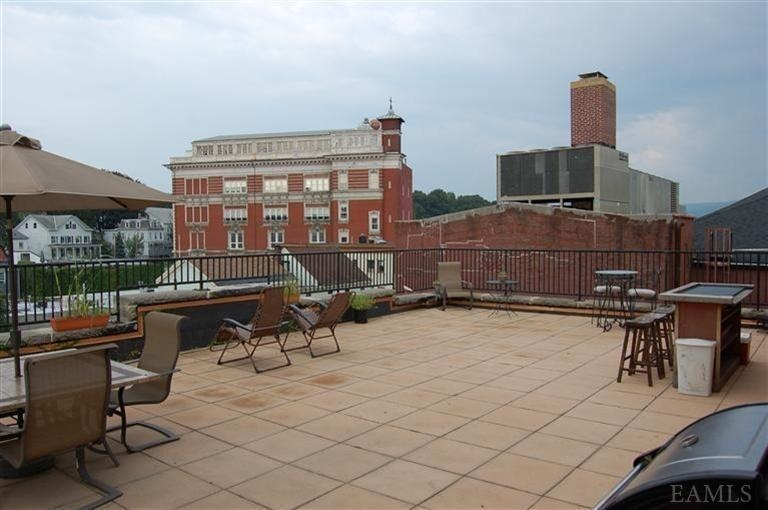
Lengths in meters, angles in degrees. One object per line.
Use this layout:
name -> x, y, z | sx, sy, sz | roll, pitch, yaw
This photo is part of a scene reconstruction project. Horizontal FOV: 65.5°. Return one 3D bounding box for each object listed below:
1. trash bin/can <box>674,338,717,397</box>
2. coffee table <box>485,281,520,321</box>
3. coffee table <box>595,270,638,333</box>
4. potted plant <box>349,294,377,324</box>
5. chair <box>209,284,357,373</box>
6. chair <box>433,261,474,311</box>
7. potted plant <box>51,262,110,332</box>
trash bin/can -> 4.640, 1.649, 8.936 | 0.617, 0.743, 0.542 | -1, -3, 11
coffee table -> 3.109, 1.175, 15.693 | 0.953, 0.909, 0.865 | -2, -7, -19
coffee table -> 5.399, 1.039, 13.935 | 1.045, 1.186, 0.962 | 13, -10, -38
potted plant -> -0.549, 1.248, 14.055 | 0.661, 0.655, 0.636 | 2, 1, 12
chair -> -1.997, 1.218, 11.439 | 2.736, 1.132, 2.472 | -4, 2, -35
chair -> 1.810, 0.825, 15.805 | 0.928, 1.145, 1.013 | -2, 10, -21
potted plant -> -5.247, 0.873, 10.345 | 0.371, 0.806, 0.929 | 3, 5, 43
